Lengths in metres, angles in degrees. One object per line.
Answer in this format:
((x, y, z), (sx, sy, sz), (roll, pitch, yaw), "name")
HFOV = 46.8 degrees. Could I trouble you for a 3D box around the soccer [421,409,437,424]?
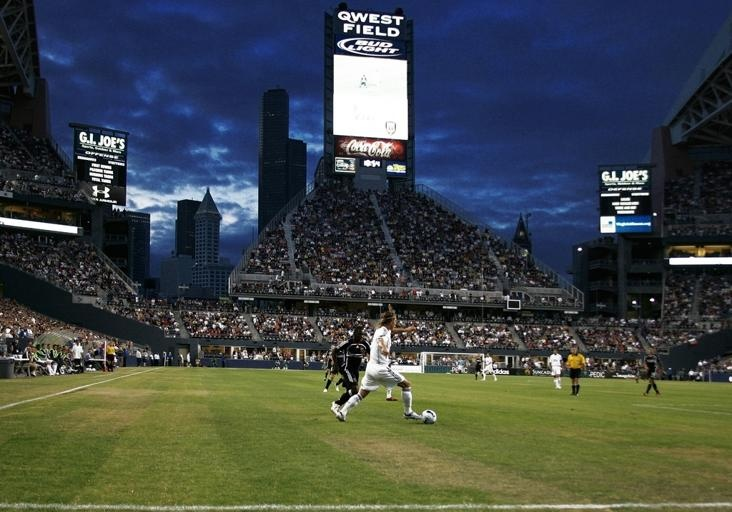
((2.010, 5.280, 27.687), (0.534, 0.476, 0.511), (7, 8, 16), "soccer")
